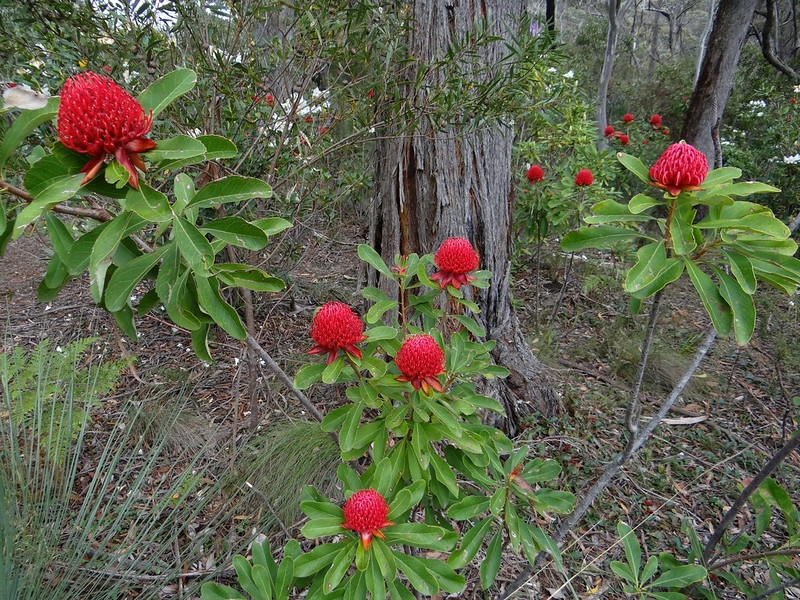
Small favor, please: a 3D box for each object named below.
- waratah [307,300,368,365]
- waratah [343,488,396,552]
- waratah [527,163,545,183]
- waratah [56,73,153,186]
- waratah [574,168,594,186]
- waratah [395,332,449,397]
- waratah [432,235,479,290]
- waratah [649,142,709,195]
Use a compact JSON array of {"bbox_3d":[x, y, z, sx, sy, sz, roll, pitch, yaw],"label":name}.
[{"bbox_3d":[-0.343,0.150,3.063,0.258,0.310,0.268,-5,15,-8],"label":"waratah"},{"bbox_3d":[-0.142,1.034,2.894,0.230,0.260,0.248,3,12,7],"label":"waratah"},{"bbox_3d":[1.320,-1.217,5.778,0.151,0.225,0.227,5,33,7],"label":"waratah"},{"bbox_3d":[-1.320,-0.750,2.633,0.401,0.452,0.309,-13,34,-20],"label":"waratah"},{"bbox_3d":[1.697,-1.116,5.427,0.143,0.195,0.233,13,35,19],"label":"waratah"},{"bbox_3d":[0.108,0.326,3.120,0.232,0.307,0.281,4,11,6],"label":"waratah"},{"bbox_3d":[0.310,-0.232,3.325,0.250,0.285,0.260,-8,15,-32],"label":"waratah"},{"bbox_3d":[1.413,-0.656,2.933,0.233,0.291,0.241,3,36,30],"label":"waratah"}]
